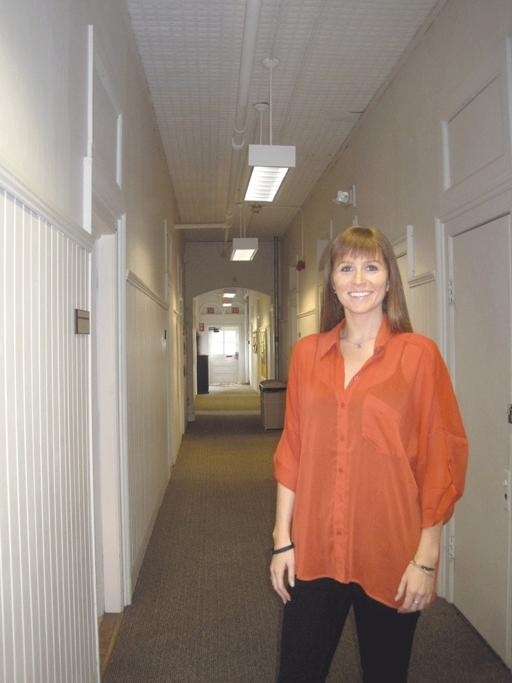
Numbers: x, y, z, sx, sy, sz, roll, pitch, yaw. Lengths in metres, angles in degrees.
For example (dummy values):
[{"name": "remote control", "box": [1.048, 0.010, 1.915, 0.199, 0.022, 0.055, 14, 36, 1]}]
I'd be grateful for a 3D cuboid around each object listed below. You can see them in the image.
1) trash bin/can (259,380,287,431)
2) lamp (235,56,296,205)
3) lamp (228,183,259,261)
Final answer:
[{"name": "trash bin/can", "box": [0.298, 1.011, 8.922, 0.425, 1.118, 0.949, -1, -1, 2]}, {"name": "lamp", "box": [0.093, -1.872, 4.374, 0.214, 0.947, 0.786, 0, -3, -6]}, {"name": "lamp", "box": [-0.185, -2.282, 8.124, 0.457, 1.541, 1.372, 0, -1, 0]}]
